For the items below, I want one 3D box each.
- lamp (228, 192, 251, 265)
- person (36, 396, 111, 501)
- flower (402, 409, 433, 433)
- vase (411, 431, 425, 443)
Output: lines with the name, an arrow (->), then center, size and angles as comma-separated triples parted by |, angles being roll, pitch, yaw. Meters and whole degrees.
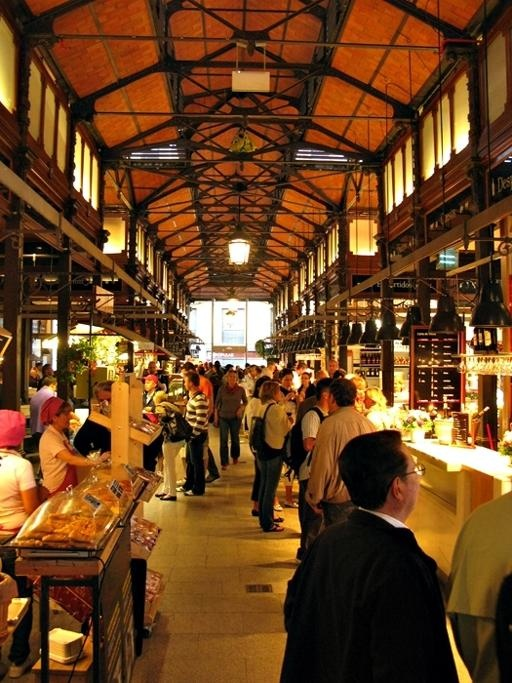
lamp -> -0.324, -1.890, 10.530 | 0.382, 0.960, 1.057 | 3, -5, -3
person -> -1.456, 1.034, 4.400 | 0.505, 1.096, 0.428 | 1, 8, -18
flower -> 1.684, 0.841, 5.874 | 0.273, 0.181, 0.267 | 2, 3, -17
vase -> 1.719, 1.021, 5.865 | 0.139, 0.126, 0.131 | 0, -8, 1
